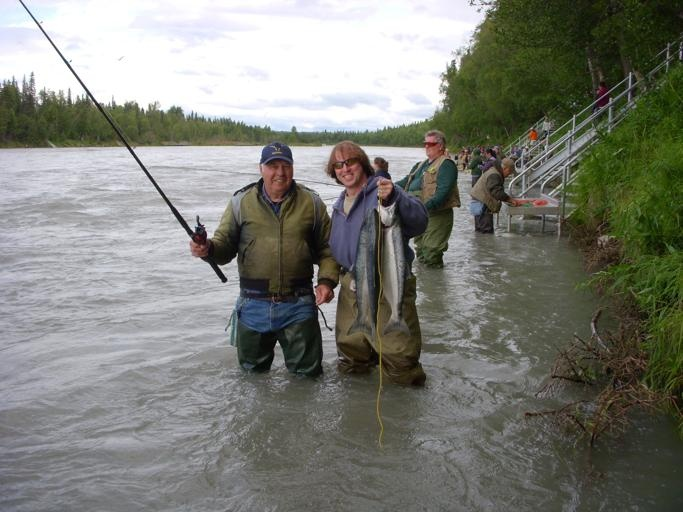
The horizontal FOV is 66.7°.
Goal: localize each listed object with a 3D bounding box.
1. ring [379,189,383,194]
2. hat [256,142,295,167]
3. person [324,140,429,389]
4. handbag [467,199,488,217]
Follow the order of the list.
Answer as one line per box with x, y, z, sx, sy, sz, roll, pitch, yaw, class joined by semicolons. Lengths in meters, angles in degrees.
0.324;-0.542;4.331;0.025;0.033;0.015;-2;7;16;ring
-0.629;-0.983;4.974;0.306;0.223;0.318;-4;11;-8;hat
0.315;0.150;4.928;1.000;2.467;0.945;0;11;13;person
3.614;-1.271;13.781;0.460;0.457;0.457;1;2;25;handbag
